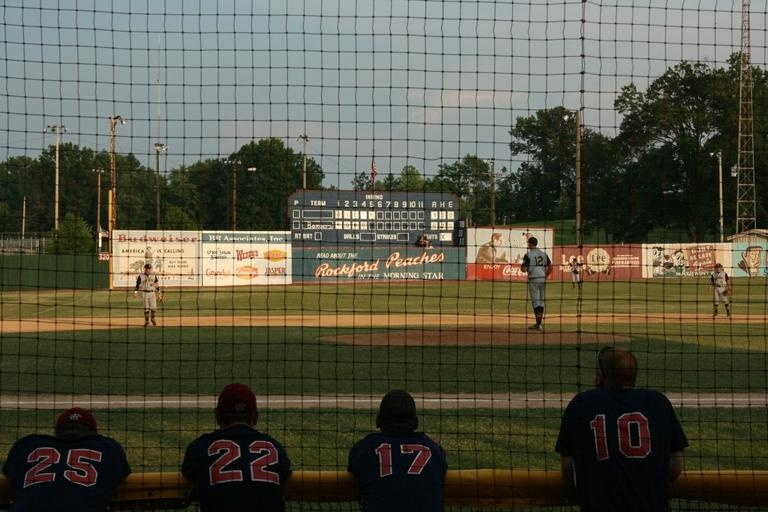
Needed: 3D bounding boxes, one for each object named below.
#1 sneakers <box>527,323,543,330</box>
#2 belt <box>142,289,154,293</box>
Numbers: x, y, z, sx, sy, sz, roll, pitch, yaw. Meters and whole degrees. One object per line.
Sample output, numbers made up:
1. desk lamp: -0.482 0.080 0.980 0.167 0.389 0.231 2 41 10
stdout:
1. sneakers: 5.508 2.552 58.518 0.495 0.208 0.200 1 0 36
2. belt: -9.202 1.296 61.933 0.514 0.175 0.192 0 7 11
